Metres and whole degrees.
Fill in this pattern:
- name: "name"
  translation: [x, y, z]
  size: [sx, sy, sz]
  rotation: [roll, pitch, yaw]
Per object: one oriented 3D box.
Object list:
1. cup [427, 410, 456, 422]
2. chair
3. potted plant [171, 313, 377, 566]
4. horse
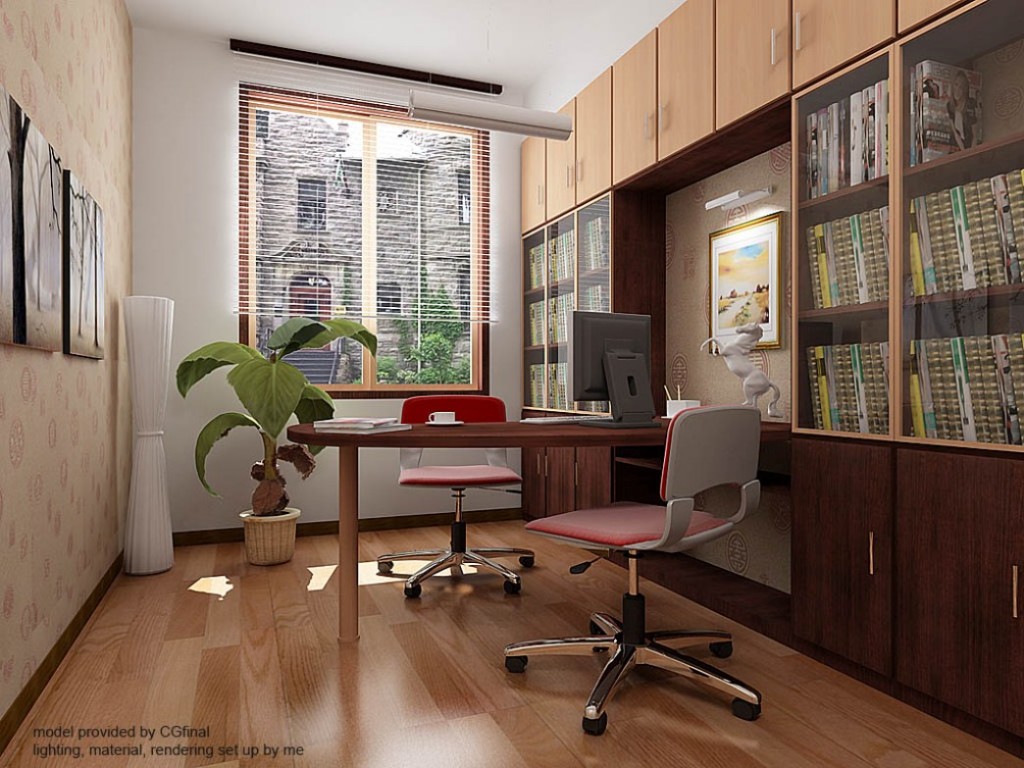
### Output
- name: "cup"
  translation: [-0.352, 0.164, 3.533]
  size: [0.109, 0.053, 0.087]
  rotation: [-1, 1, 13]
- name: "chair"
  translation: [0.299, 0.604, 2.890]
  size: [1.057, 1.315, 1.121]
  rotation: [-1, -3, 41]
- name: "potted plant"
  translation: [-1.138, 0.299, 4.789]
  size: [1.423, 1.790, 1.383]
  rotation: [1, -4, -9]
- name: "horse"
  translation: [1.112, -0.099, 3.588]
  size: [0.414, 0.387, 0.157]
  rotation: [13, 9, 24]
